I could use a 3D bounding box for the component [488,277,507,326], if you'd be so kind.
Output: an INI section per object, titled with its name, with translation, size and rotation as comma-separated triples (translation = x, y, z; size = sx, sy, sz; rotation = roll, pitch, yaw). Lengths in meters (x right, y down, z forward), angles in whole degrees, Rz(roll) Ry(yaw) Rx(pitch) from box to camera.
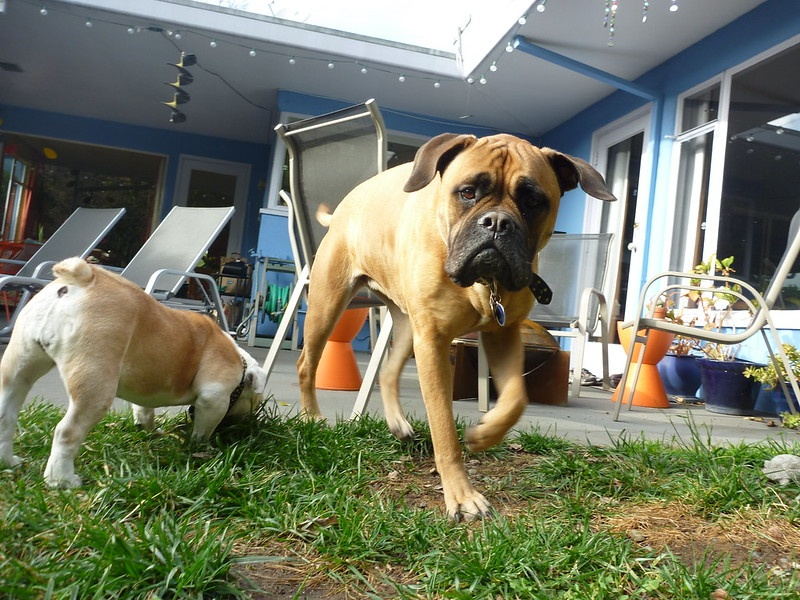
[component]
translation = 0.343, 0.014, 1.797
size = 0.059, 0.146, 0.162
rotation = 5, -3, 12

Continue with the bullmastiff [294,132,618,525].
[bullmastiff]
translation = 0.011, -0.039, 2.652
size = 0.832, 1.338, 2.416
rotation = -6, 8, -23

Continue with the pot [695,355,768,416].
[pot]
translation = 3.041, 0.802, 4.621
size = 0.537, 0.358, 0.510
rotation = 5, -11, 1

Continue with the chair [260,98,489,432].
[chair]
translation = -0.643, -0.356, 4.539
size = 1.733, 2.684, 2.227
rotation = 1, -2, 41

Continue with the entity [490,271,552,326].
[entity]
translation = 0.473, 0.033, 1.952
size = 0.111, 0.242, 0.462
rotation = -29, -22, 6
